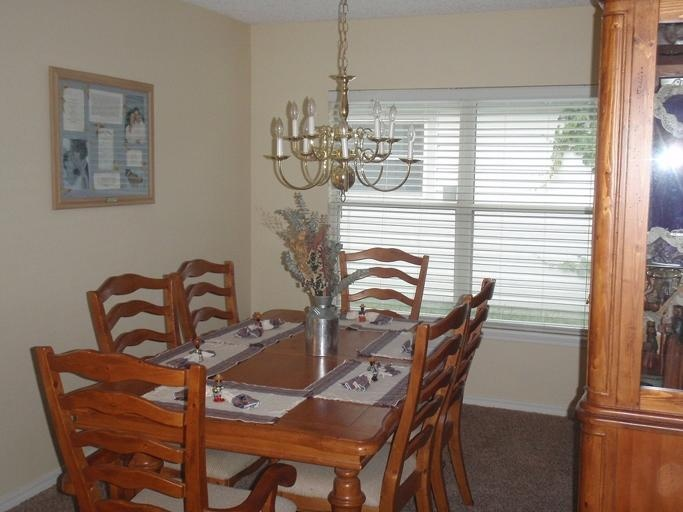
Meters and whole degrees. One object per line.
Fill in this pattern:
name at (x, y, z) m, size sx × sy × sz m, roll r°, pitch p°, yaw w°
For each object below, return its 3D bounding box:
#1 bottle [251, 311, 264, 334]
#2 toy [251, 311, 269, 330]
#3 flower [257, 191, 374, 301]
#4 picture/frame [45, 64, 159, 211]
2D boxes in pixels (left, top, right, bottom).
bottle at (-0.453, 0.364, 3.104) m, size 0.097 × 0.098 × 0.141 m, roll -2°, pitch 0°, yaw -6°
toy at (-0.440, 0.348, 3.150) m, size 0.095 × 0.105 × 0.107 m, roll -7°, pitch -2°, yaw -9°
flower at (-0.091, -0.009, 2.642) m, size 0.370 × 0.420 × 0.124 m, roll 2°, pitch 10°, yaw 1°
picture/frame at (-1.417, -0.699, 3.304) m, size 0.095 × 0.901 × 0.896 m, roll 6°, pitch 9°, yaw 27°
